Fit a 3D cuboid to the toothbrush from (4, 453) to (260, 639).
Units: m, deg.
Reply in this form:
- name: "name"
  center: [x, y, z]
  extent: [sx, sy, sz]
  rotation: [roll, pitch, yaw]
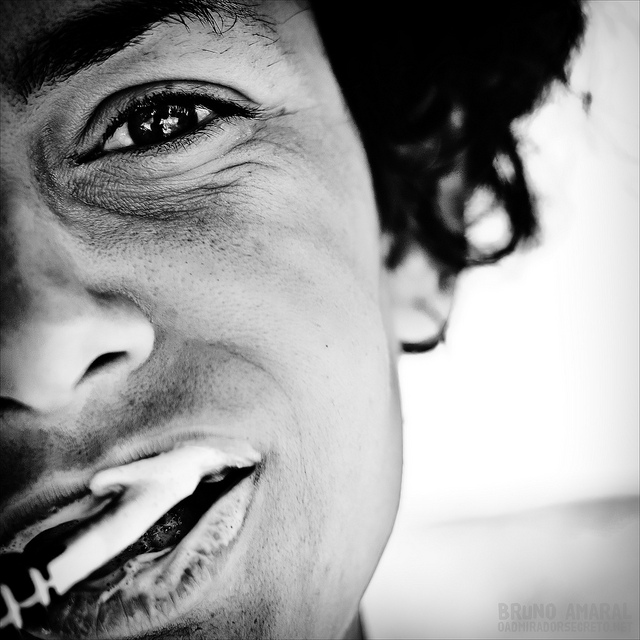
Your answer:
- name: "toothbrush"
  center: [-0.245, 0.273, 1.204]
  extent: [0.416, 0.024, 0.084]
  rotation: [-29, 92, 15]
